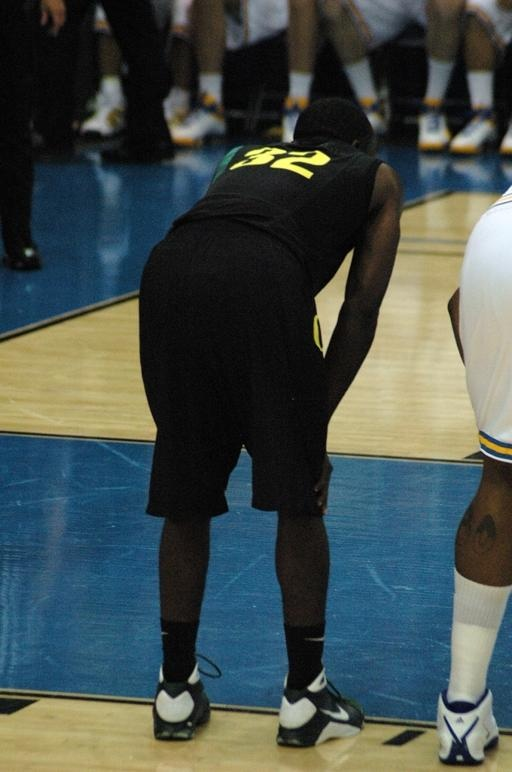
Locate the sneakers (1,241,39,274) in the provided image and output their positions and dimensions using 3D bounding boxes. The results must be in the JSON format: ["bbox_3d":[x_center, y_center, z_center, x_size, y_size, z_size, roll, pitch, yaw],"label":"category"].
[{"bbox_3d":[-1.010,-0.542,3.662,0.164,0.098,0.097,-5,21,-24],"label":"sneakers"}]

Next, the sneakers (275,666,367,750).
[{"bbox_3d":[0.074,0.385,1.047,0.053,0.086,0.141,1,5,40],"label":"sneakers"}]

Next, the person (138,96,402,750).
[{"bbox_3d":[0.011,0.033,1.125,0.319,0.760,0.552,4,21,9],"label":"person"}]
